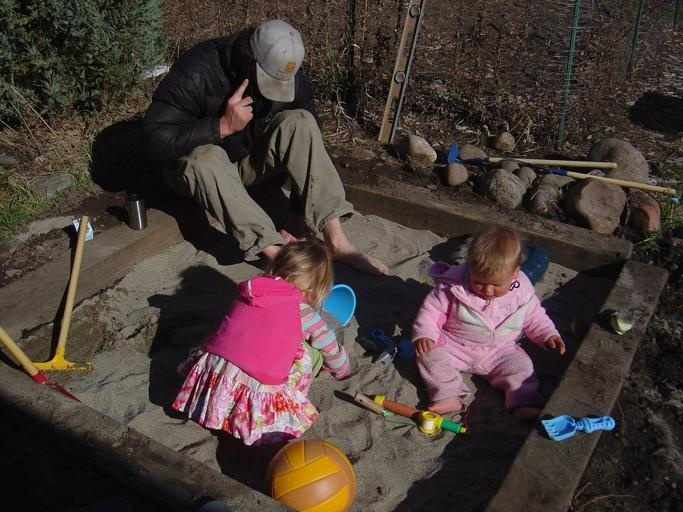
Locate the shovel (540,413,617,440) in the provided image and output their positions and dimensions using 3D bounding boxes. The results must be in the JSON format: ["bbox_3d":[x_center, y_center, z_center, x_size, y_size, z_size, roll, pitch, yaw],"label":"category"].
[{"bbox_3d":[1.178,0.912,2.680,0.443,0.080,0.139,-5,46,2],"label":"shovel"}]

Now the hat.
[{"bbox_3d":[-0.433,-1.262,3.476,0.342,0.544,0.283,-9,-2,-32],"label":"hat"}]

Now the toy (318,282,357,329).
[{"bbox_3d":[-0.008,0.322,3.409,0.237,0.262,0.098,34,16,24],"label":"toy"}]

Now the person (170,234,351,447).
[{"bbox_3d":[-0.374,0.413,2.922,0.775,0.573,1.143,16,53,6],"label":"person"}]
